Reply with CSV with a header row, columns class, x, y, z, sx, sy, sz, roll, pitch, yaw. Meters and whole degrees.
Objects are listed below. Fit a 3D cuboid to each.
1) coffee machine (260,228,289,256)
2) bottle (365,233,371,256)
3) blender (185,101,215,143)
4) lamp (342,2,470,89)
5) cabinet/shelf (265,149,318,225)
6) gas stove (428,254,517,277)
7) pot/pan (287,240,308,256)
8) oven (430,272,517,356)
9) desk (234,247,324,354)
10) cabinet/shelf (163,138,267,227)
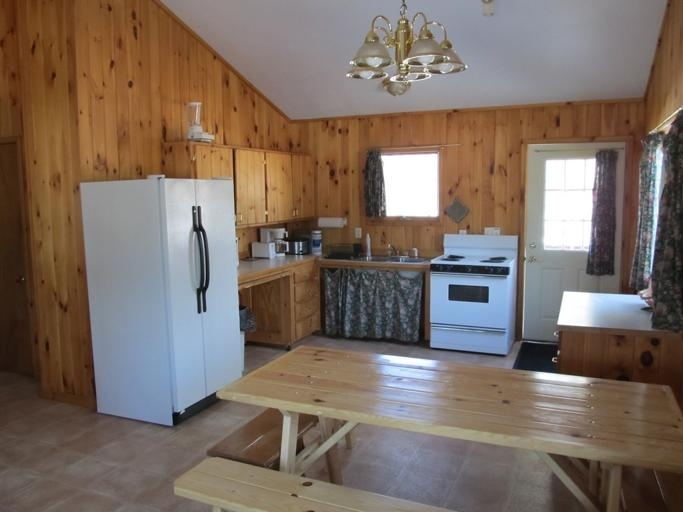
class,x,y,z,sx,sy,sz,roll,pitch,yaw
coffee machine,-0.827,-0.195,6.705,0.396,0.455,0.251,-2,7,-2
bottle,0.356,-0.151,7.014,0.080,0.279,0.169,-1,14,2
blender,-1.458,-1.363,5.420,0.194,0.406,0.267,5,15,22
lamp,0.416,-1.598,3.931,0.720,0.794,1.754,-1,14,2
cabinet/shelf,-0.788,-0.902,6.881,0.303,0.868,0.977,3,8,37
gas stove,1.529,0.087,6.187,0.907,0.139,0.575,4,15,20
pot/pan,-0.553,-0.115,6.883,0.199,0.146,0.201,-3,7,-24
oven,1.621,0.630,6.315,0.950,1.005,0.725,0,-2,37
desk,-0.774,0.478,6.621,0.993,1.490,1.046,2,7,17
cabinet/shelf,-1.285,-0.838,5.931,0.311,0.772,0.999,-1,1,44
